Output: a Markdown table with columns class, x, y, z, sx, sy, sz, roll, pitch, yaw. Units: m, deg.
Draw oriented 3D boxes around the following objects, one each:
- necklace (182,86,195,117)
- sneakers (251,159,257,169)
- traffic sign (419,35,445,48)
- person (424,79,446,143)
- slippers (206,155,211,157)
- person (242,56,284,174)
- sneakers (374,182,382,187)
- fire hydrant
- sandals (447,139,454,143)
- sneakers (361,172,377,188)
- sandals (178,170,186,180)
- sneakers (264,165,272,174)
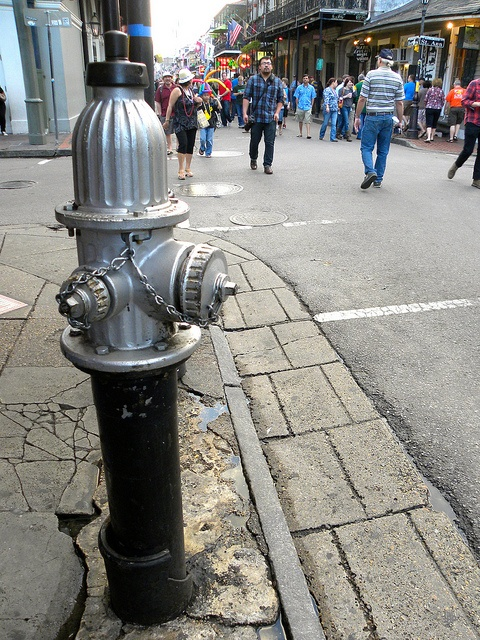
| class | x | y | z | sx | sy | sz | roll | pitch | yaw |
| --- | --- | --- | --- | --- | --- | --- | --- | --- | --- |
| necklace | -0.952 | -3.964 | 9.447 | 0.333 | 0.481 | 0.082 | -1 | -5 | -30 |
| sneakers | 0.301 | -3.464 | 11.453 | 0.077 | 0.220 | 0.094 | -5 | -18 | -1 |
| traffic sign | 6.764 | -9.855 | 18.308 | 1.473 | 0.272 | 0.259 | -18 | 30 | -38 |
| person | 6.627 | -7.198 | 17.812 | 0.616 | 2.028 | 1.388 | 9 | 24 | 17 |
| slippers | -0.841 | -4.318 | 13.634 | 0.047 | 0.055 | 0.127 | -4 | 9 | -16 |
| person | 0.469 | -4.316 | 10.910 | 0.813 | 2.253 | 1.240 | 3 | 23 | 4 |
| sneakers | 2.547 | -2.505 | 9.544 | 0.088 | 0.108 | 0.255 | 1 | 15 | 11 |
| fire hydrant | -0.254 | 0.144 | 1.414 | 0.424 | 1.656 | 0.345 | -7 | 25 | -19 |
| sandals | 7.430 | -6.319 | 18.243 | 0.119 | 0.135 | 0.347 | -3 | 19 | -3 |
| sneakers | 2.241 | -2.435 | 9.004 | 0.144 | 0.149 | 0.352 | 10 | -14 | -3 |
| sandals | -1.155 | -2.838 | 10.146 | 0.083 | 0.096 | 0.228 | -5 | 22 | -12 |
| sneakers | 0.591 | -3.190 | 10.933 | 0.095 | 0.106 | 0.253 | -4 | 30 | -2 |
